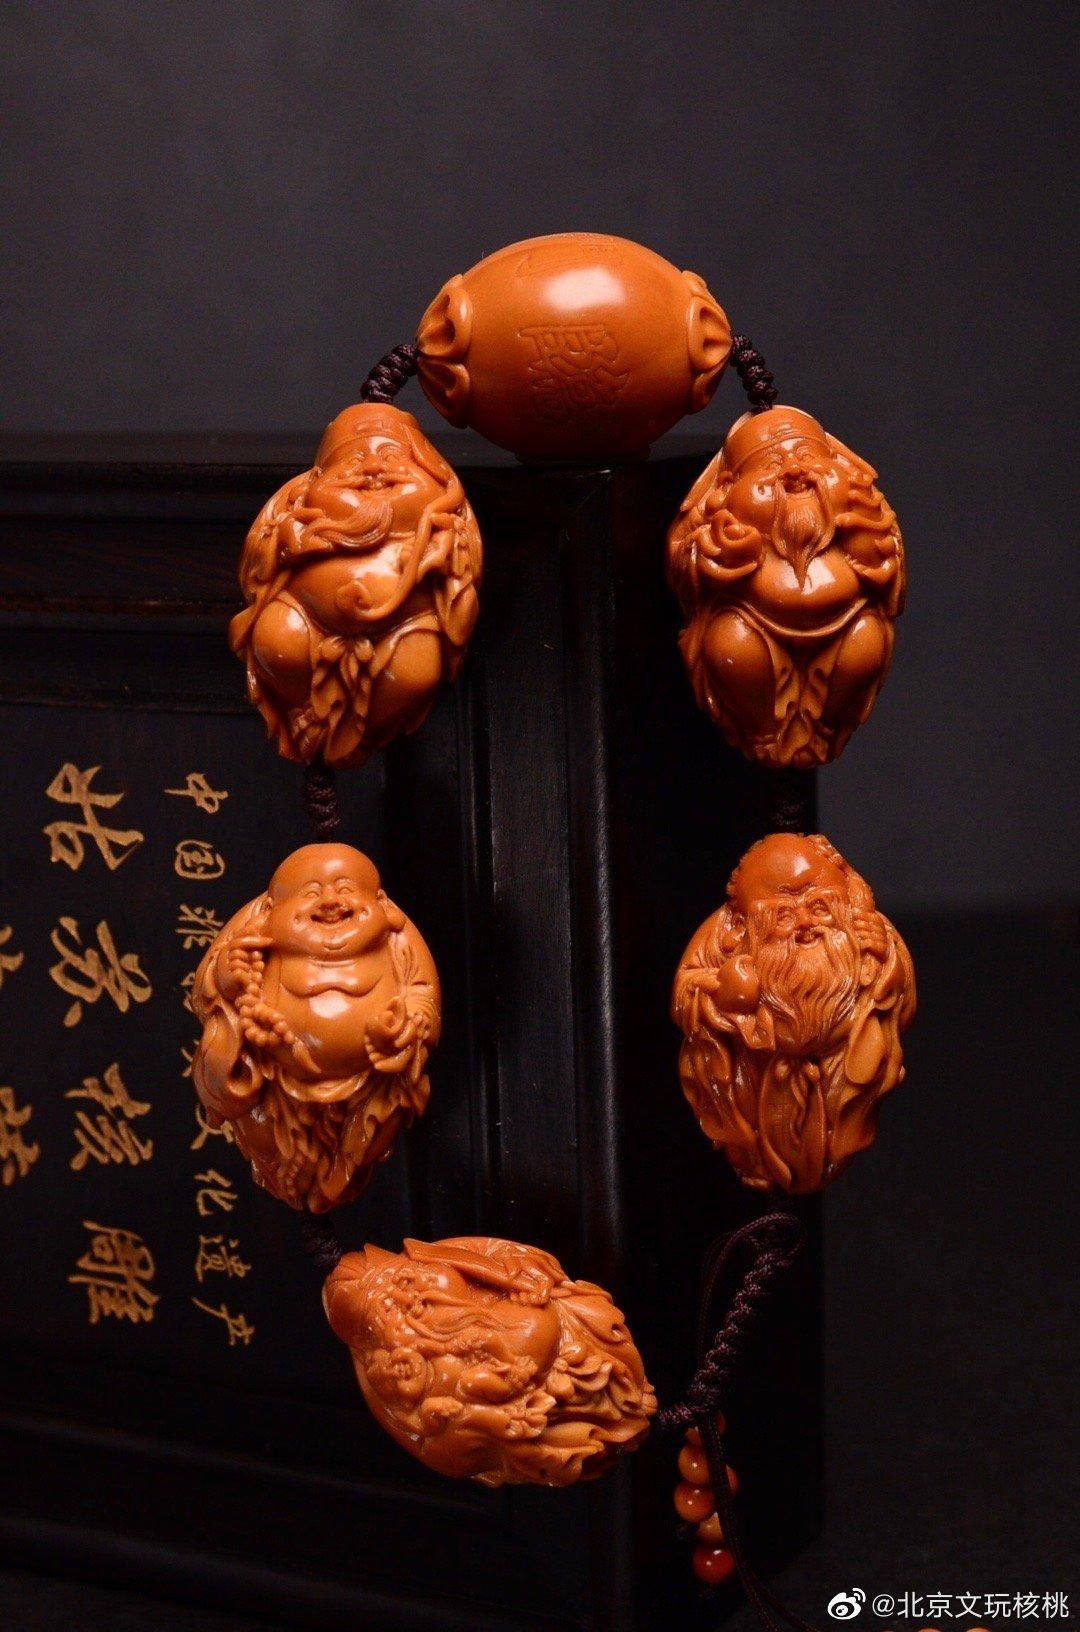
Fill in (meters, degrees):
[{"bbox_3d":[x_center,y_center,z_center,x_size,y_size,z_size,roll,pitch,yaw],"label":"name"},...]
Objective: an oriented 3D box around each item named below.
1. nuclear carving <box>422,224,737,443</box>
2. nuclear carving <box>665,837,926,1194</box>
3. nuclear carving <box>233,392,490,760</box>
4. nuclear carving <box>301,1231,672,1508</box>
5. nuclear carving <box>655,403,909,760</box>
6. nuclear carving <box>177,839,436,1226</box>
[{"bbox_3d":[0.020,-0.209,0.817,0.145,0.096,0.101,-1,22,5],"label":"nuclear carving"},{"bbox_3d":[0.115,0.091,0.810,0.102,0.160,0.070,-15,15,-27],"label":"nuclear carving"},{"bbox_3d":[-0.079,-0.096,0.778,0.108,0.153,0.067,-10,13,-8],"label":"nuclear carving"},{"bbox_3d":[-0.023,0.240,0.808,0.110,0.095,0.108,-16,15,-34],"label":"nuclear carving"},{"bbox_3d":[0.106,-0.098,0.794,0.095,0.152,0.066,-7,13,6],"label":"nuclear carving"},{"bbox_3d":[-0.095,0.096,0.793,0.120,0.158,0.060,-1,-7,9],"label":"nuclear carving"}]
